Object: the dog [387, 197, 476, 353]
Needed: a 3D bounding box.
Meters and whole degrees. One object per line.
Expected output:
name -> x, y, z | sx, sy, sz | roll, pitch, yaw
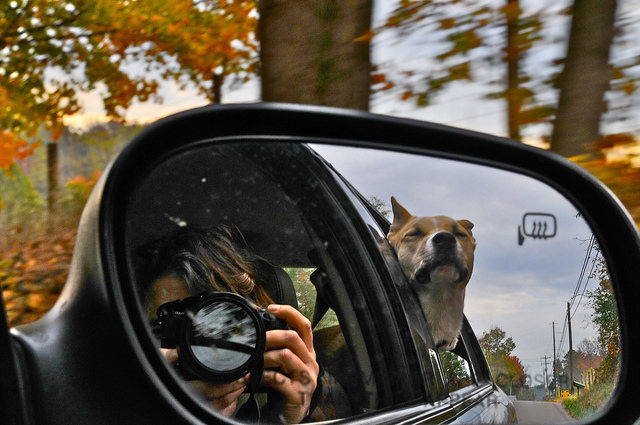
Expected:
dog -> 0.405, 0.287, 2.060 | 0.204, 0.801, 0.403 | 4, 33, 16
